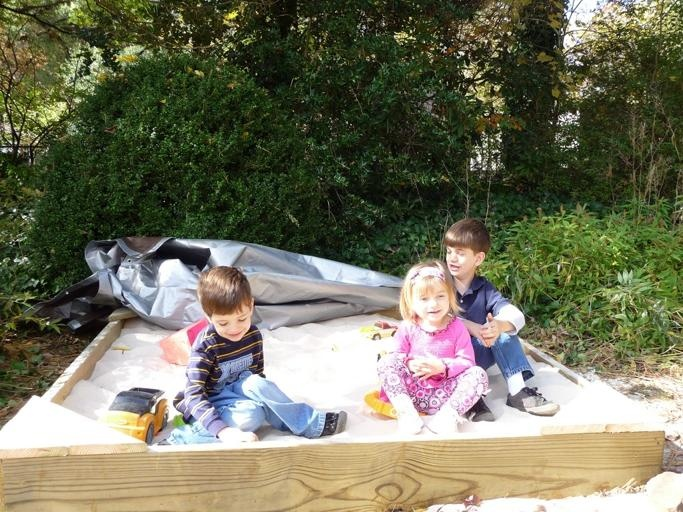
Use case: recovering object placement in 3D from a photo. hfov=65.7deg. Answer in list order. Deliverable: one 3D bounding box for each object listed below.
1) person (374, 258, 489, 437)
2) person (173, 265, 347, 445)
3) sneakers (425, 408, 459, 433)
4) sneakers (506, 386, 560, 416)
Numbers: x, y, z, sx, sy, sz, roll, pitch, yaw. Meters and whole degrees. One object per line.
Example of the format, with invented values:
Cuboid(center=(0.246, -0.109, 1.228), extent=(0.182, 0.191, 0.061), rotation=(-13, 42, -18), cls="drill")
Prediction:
Cuboid(center=(0.508, 0.491, 2.961), extent=(0.614, 0.894, 0.461), rotation=(0, 7, 4), cls="person")
Cuboid(center=(-0.466, 0.562, 2.888), extent=(1.106, 0.880, 0.835), rotation=(-1, 9, -13), cls="person")
Cuboid(center=(0.549, 0.886, 2.847), extent=(0.115, 0.040, 0.155), rotation=(15, 45, 45), cls="sneakers")
Cuboid(center=(1.129, 0.848, 3.140), extent=(0.275, 0.101, 0.109), rotation=(2, 6, 41), cls="sneakers")
